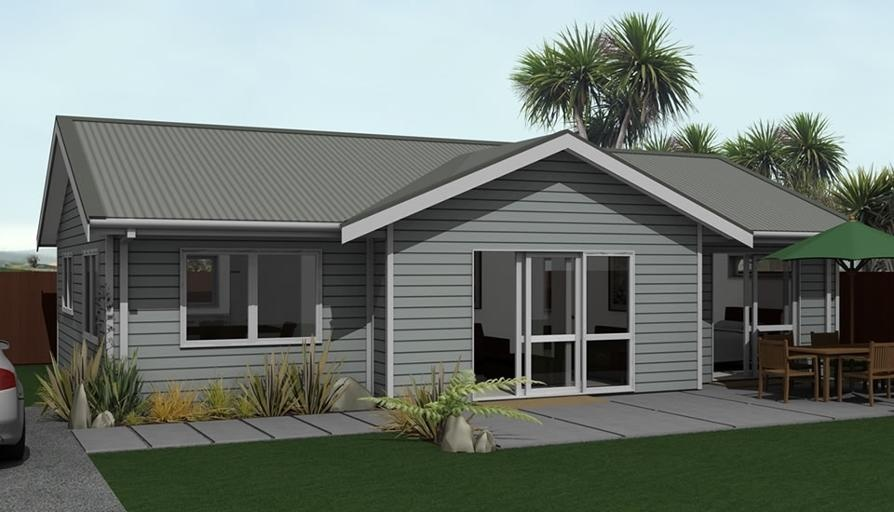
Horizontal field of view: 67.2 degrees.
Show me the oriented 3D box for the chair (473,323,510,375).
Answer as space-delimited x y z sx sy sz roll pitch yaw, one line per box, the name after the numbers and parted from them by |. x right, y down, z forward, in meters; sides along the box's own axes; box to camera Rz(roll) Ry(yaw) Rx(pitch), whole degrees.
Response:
1.237 2.687 18.190 1.154 1.497 1.651 -1 -1 2 | chair
